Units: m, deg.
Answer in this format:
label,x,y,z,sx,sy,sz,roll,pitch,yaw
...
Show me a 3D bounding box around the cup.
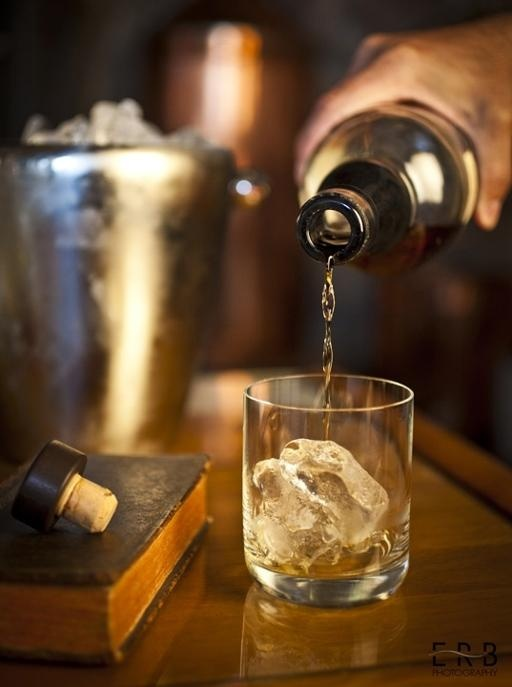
label,x,y,z,sx,sy,sz,roll,pitch,yaw
cup,0.038,0.084,0.444,0.124,0.129,0.120,0,7,0
